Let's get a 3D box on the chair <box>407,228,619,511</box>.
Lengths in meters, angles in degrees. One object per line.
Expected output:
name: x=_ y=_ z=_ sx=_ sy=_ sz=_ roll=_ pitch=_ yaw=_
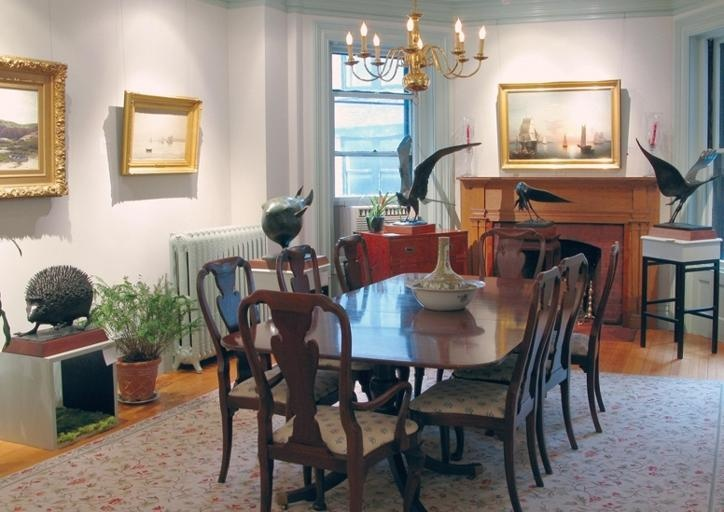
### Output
chair: x=0.975 y=0.779 z=4.009 sx=0.577 sy=1.062 sz=1.497 roll=3 pitch=10 yaw=29

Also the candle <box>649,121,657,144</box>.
candle: x=3.079 y=-1.268 z=6.459 sx=0.074 sy=0.240 sz=0.105 roll=4 pitch=12 yaw=37

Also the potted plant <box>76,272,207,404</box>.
potted plant: x=-1.738 y=0.652 z=5.127 sx=0.796 sy=1.142 sz=0.922 roll=3 pitch=9 yaw=9

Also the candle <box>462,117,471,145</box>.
candle: x=1.198 y=-1.396 z=6.902 sx=0.077 sy=0.277 sz=0.141 roll=0 pitch=10 yaw=17

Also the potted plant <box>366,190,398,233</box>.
potted plant: x=0.204 y=-0.460 z=6.549 sx=0.374 sy=0.420 sz=0.391 roll=2 pitch=1 yaw=23

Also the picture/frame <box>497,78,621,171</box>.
picture/frame: x=2.226 y=-1.446 z=6.716 sx=0.934 sy=0.749 sz=0.038 roll=0 pitch=5 yaw=16
